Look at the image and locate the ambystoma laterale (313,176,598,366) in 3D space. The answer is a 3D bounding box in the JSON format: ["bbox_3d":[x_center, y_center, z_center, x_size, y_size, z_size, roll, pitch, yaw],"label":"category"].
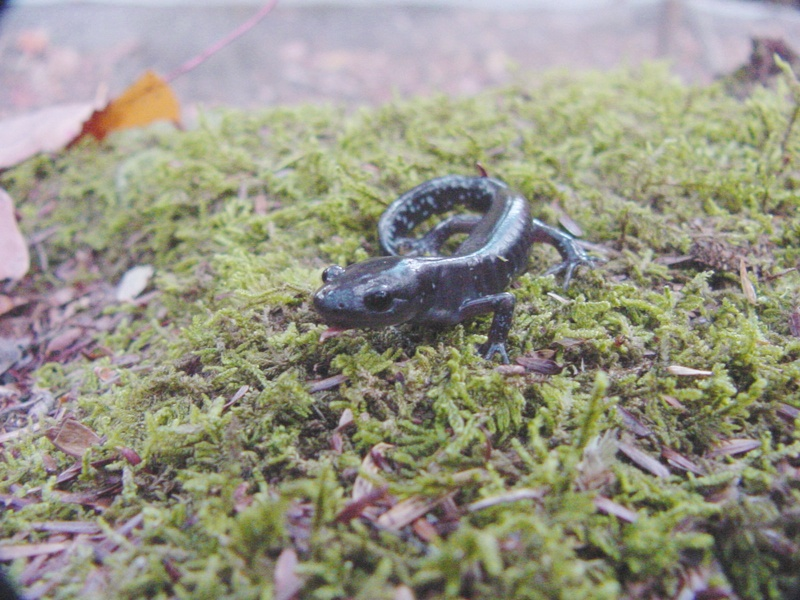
[{"bbox_3d":[0.222,-0.283,4.654,1.033,0.548,1.619,0,39,18],"label":"ambystoma laterale"}]
